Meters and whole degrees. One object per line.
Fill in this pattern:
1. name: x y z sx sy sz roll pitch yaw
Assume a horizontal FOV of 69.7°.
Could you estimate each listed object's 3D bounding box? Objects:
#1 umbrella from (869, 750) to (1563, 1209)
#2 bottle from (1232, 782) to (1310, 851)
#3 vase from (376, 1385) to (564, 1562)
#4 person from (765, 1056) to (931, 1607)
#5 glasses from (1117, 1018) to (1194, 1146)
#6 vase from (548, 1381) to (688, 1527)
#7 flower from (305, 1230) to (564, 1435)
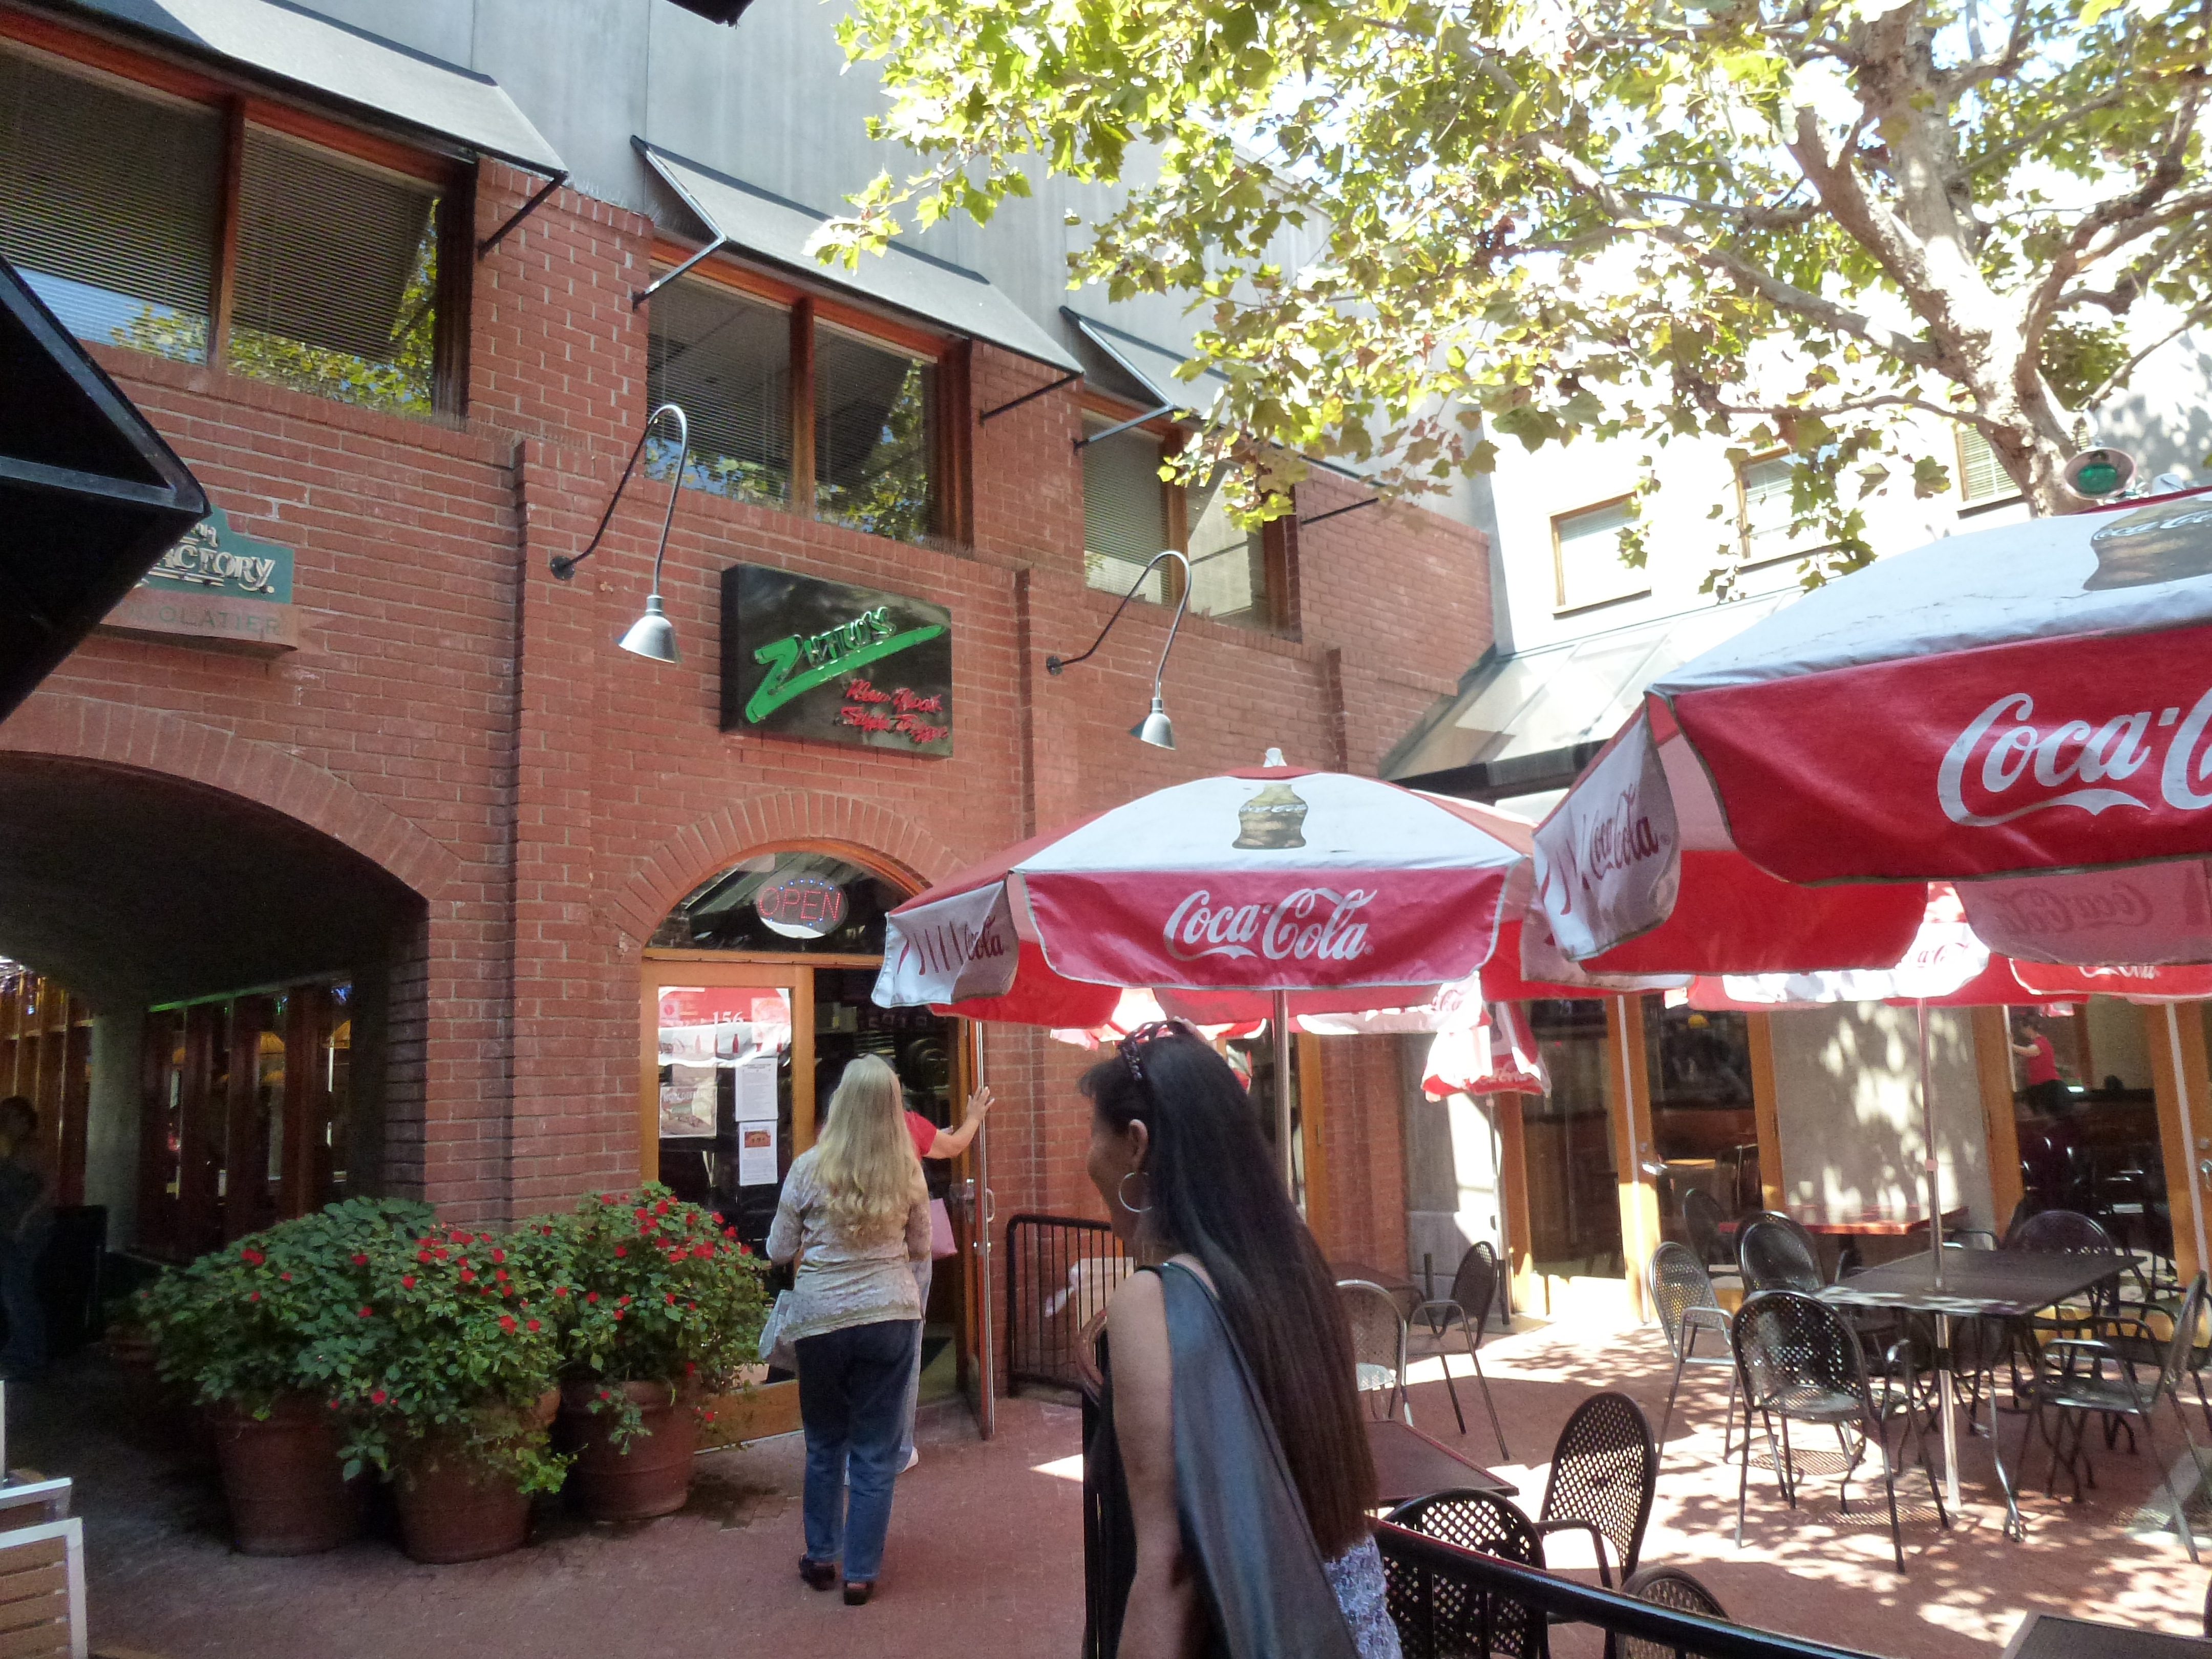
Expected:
1. umbrella: 0.438 0.357 6.152 1.885 1.270 1.935 -3 -3 24
2. bottle: 0.631 -0.047 5.980 0.252 0.216 0.247 1 -18 1
3. vase: -3.142 3.162 7.872 0.830 0.604 0.824 9 -23 -36
4. person: -1.178 2.274 7.342 0.621 2.422 0.459 -4 -6 23
5. glasses: 0.121 0.580 3.793 0.182 0.235 0.101 7 -12 -27
6. vase: -2.517 3.257 8.336 0.750 0.545 0.736 -4 -24 3
7. flower: -3.146 2.420 7.630 0.944 0.764 0.912 4 -5 -29
